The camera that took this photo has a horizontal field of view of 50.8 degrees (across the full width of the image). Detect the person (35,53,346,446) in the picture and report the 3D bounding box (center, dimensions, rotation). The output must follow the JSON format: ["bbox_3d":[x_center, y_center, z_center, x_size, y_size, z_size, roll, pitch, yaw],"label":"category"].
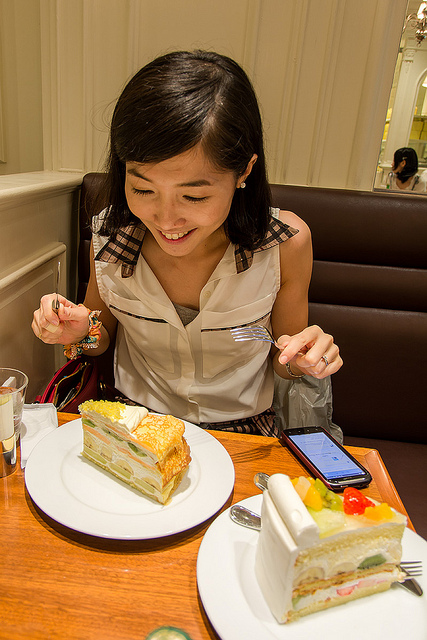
[{"bbox_3d":[-0.009,-0.150,1.226,0.593,0.981,0.472,-4,28,-26],"label":"person"}]

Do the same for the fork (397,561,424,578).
[{"bbox_3d":[0.265,0.338,0.611,0.037,0.006,0.021,-2,39,0],"label":"fork"}]

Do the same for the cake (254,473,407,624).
[{"bbox_3d":[0.157,0.292,0.592,0.185,0.154,0.141,-1,21,5],"label":"cake"}]

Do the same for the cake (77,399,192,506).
[{"bbox_3d":[-0.130,0.212,0.791,0.192,0.114,0.112,22,25,26],"label":"cake"}]

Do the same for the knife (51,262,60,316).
[{"bbox_3d":[-0.343,-0.040,0.980,0.017,0.071,0.077,-1,26,-19],"label":"knife"}]

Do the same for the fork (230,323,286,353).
[{"bbox_3d":[0.096,0.053,1.139,0.058,0.050,0.306,-3,-6,32],"label":"fork"}]

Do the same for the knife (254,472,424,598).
[{"bbox_3d":[0.157,0.288,0.589,0.033,0.042,0.282,-33,52,-20],"label":"knife"}]

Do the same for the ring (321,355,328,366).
[{"bbox_3d":[0.244,0.088,0.987,0.013,0.011,0.028,12,25,8],"label":"ring"}]
